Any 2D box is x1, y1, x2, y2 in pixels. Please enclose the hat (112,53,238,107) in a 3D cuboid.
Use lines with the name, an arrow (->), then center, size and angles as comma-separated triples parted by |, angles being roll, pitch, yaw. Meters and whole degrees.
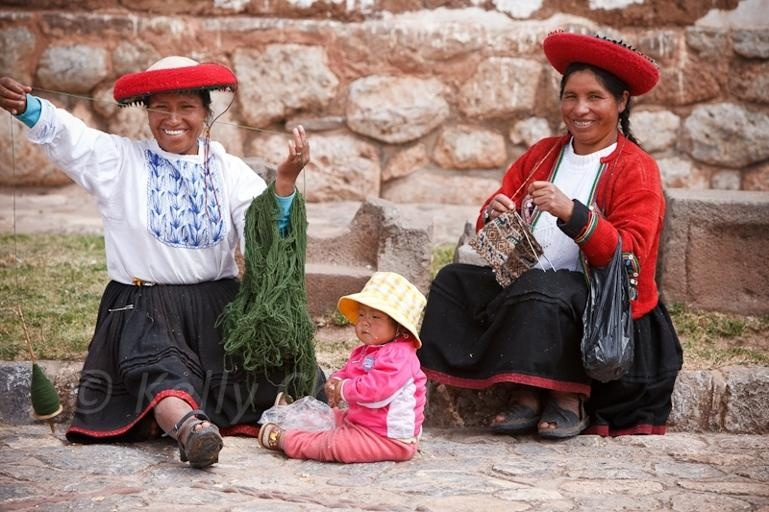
hat -> -1.282, -1.073, 7.375 | 0.738, 0.302, 0.289 | 0, 7, -10

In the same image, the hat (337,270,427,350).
hat -> -0.015, 0.278, 7.260 | 0.502, 0.270, 0.432 | 37, -27, -21

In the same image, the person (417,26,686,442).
person -> 1.117, -0.146, 7.586 | 1.542, 2.525, 0.769 | 2, 7, 13

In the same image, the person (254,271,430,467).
person -> -0.187, 0.661, 7.200 | 0.863, 1.095, 0.375 | 1, 7, 2

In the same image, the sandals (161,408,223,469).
sandals -> -1.083, 1.061, 6.950 | 0.235, 0.293, 0.290 | -2, 7, -20
